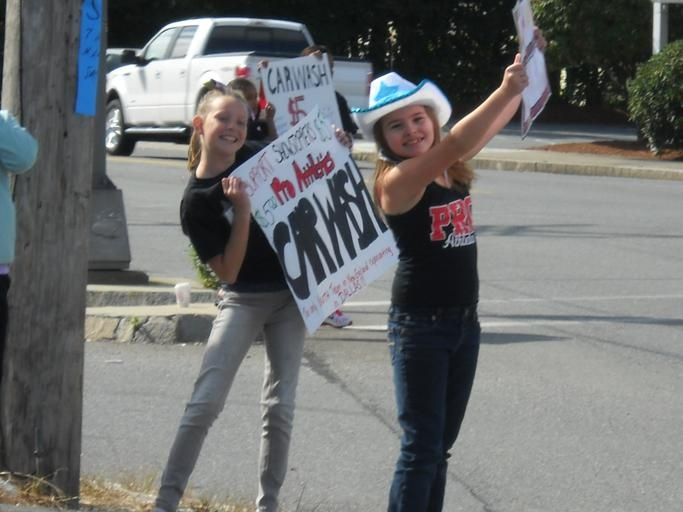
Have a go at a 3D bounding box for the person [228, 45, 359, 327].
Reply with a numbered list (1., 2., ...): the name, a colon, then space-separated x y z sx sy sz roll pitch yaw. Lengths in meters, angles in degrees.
1. person: -0.388 -0.417 9.255 1.228 2.370 0.692 -16 13 -31

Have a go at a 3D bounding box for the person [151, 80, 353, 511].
1. person: -0.642 0.328 6.587 0.842 2.557 0.850 0 11 -3
